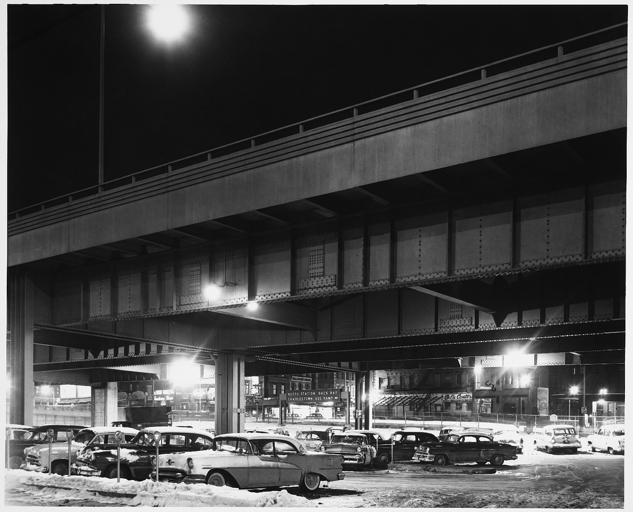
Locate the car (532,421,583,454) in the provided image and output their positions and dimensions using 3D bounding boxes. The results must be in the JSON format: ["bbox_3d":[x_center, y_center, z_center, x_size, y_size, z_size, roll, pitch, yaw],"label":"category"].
[{"bbox_3d":[13.735,10.542,68.694,1.725,1.391,3.138,1,-9,-4],"label":"car"}]
